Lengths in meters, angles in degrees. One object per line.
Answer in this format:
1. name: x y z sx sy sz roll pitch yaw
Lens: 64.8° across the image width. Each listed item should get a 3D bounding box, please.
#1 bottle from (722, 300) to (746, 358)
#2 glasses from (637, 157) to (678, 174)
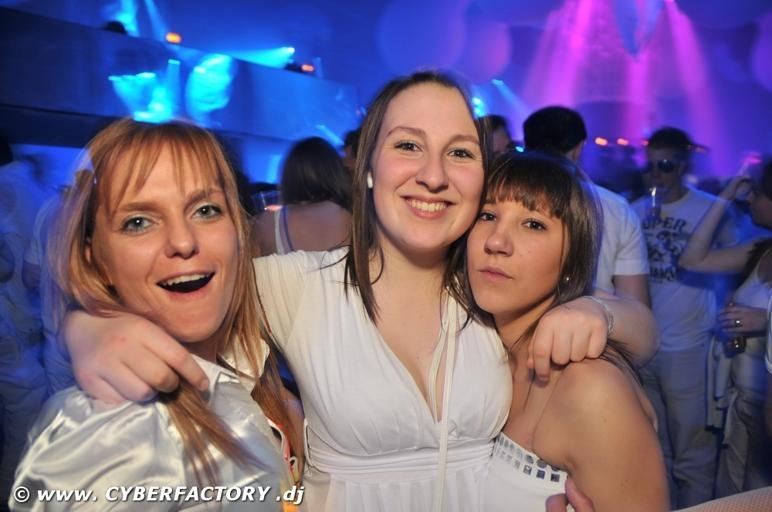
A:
1. bottle: 2.768 0.617 4.818 0.249 0.356 0.108 2 0 43
2. glasses: 2.382 -0.791 5.303 0.183 0.059 0.188 -8 -24 37
